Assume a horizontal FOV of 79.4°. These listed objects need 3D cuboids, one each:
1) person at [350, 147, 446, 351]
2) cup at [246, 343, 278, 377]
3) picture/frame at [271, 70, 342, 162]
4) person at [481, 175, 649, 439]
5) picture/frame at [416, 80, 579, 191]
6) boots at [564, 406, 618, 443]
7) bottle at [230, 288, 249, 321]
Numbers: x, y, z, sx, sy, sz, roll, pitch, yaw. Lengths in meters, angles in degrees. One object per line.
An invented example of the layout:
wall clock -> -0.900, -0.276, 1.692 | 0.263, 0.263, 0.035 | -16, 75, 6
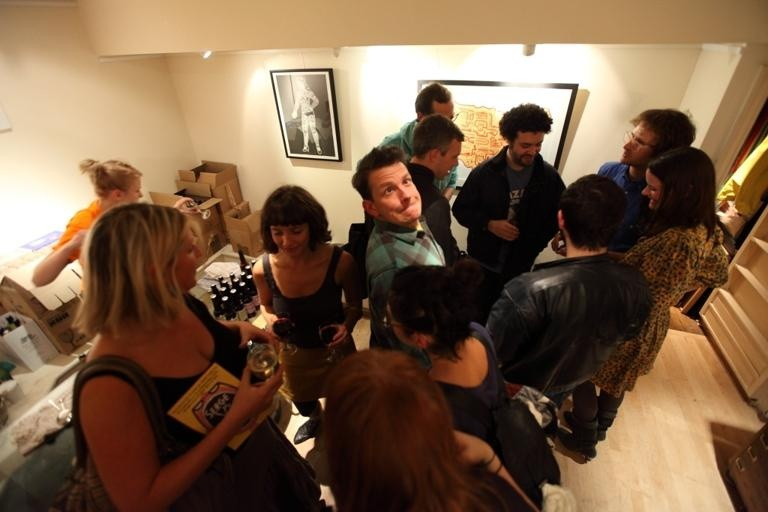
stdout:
person -> 0.104, -0.058, 2.932 | 0.520, 1.350, 0.856 | -1, 47, 15
cup -> -0.717, 0.613, 2.710 | 0.130, 0.141, 0.200 | -7, 63, -4
picture/frame -> -0.724, -1.381, 4.456 | 0.867, 1.065, 0.069 | 4, 39, 17
person -> 1.318, 0.524, 3.468 | 1.030, 2.368, 0.776 | -6, 42, -1
picture/frame -> 0.960, -1.004, 3.768 | 1.258, 0.929, 0.045 | 11, 41, 19
boots -> 1.537, 1.255, 3.432 | 0.254, 0.249, 0.118 | 30, 77, 36
bottle -> -1.252, 0.410, 3.977 | 0.102, 0.334, 0.098 | -3, 45, 3
